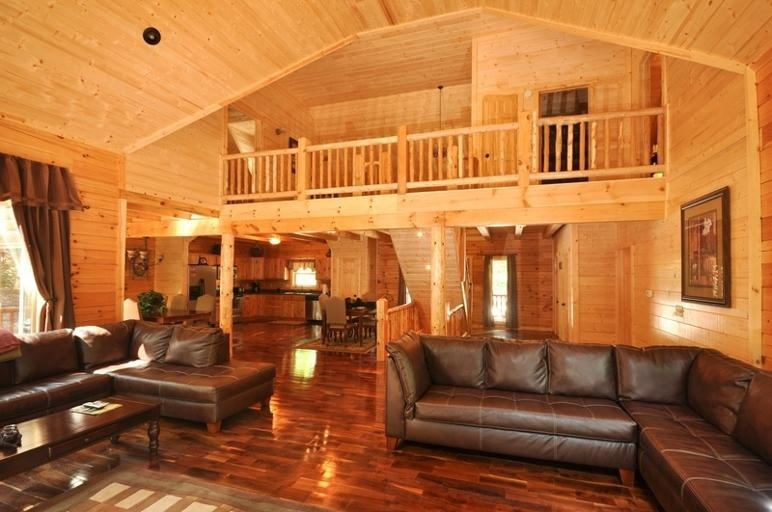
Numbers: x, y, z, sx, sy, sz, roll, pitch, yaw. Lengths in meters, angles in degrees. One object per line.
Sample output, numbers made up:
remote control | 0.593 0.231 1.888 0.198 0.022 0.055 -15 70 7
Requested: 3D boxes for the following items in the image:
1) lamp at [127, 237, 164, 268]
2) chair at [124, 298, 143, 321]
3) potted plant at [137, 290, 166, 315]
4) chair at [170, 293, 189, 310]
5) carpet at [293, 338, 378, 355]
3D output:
lamp | -5.549 -0.079 12.264 0.470 0.660 0.798 -1 0 22
chair | -4.276 0.905 9.017 0.254 0.340 0.425 -1 -2 -25
potted plant | -4.361 0.869 9.952 0.568 0.322 0.479 0 9 -8
chair | -4.078 0.938 10.614 0.495 0.321 0.220 -3 -2 39
carpet | -0.992 1.832 10.573 1.553 0.163 1.021 -1 -2 0
